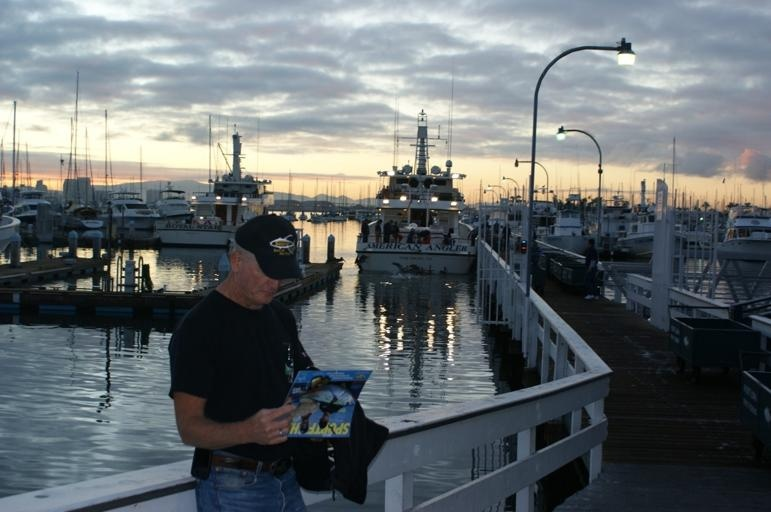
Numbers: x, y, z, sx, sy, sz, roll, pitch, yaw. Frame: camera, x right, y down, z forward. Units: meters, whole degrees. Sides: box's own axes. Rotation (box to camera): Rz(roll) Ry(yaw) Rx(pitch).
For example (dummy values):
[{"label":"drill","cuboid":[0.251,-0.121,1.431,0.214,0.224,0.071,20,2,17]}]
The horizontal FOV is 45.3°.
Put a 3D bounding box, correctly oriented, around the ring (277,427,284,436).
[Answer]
[{"label":"ring","cuboid":[-1.199,2.008,10.525,0.084,0.073,0.012,-11,14,-22]}]
